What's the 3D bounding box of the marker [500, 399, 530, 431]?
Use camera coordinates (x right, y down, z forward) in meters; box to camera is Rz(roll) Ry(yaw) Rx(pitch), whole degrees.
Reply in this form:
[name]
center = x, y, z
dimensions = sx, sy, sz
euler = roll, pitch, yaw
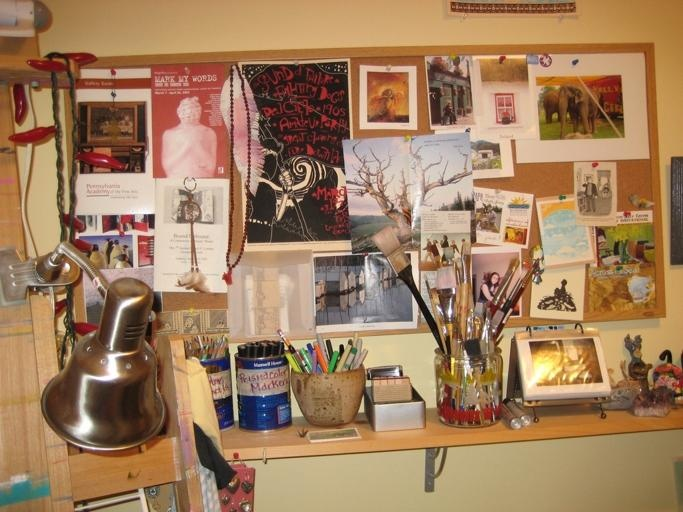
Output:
[marker]
center = 0.487, 0.444, 1.582
dimensions = 0.044, 0.029, 0.080
euler = 1, 8, 1
